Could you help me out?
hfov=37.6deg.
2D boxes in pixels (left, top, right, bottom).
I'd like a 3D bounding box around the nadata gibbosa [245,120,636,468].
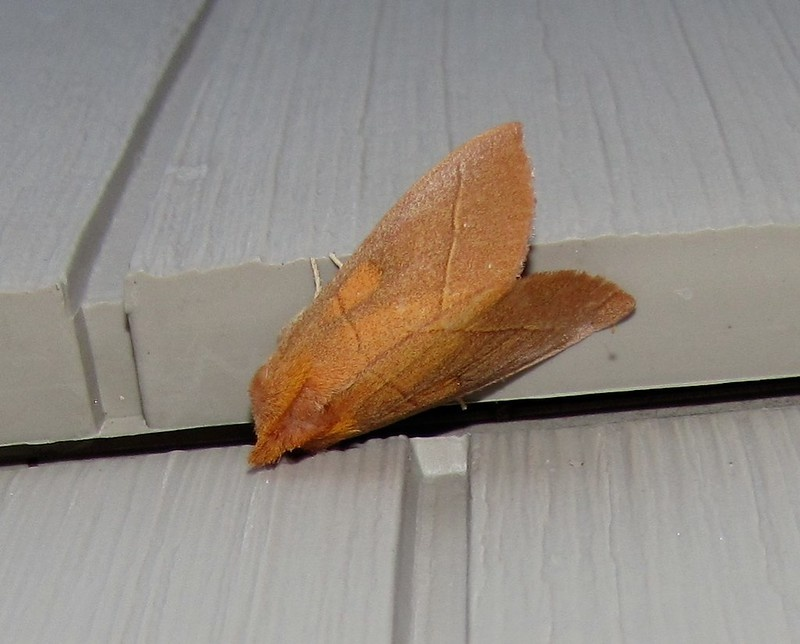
[{"bbox_3d":[-0.002,0.020,1.783,0.215,0.576,0.367,3,50,-43],"label":"nadata gibbosa"}]
